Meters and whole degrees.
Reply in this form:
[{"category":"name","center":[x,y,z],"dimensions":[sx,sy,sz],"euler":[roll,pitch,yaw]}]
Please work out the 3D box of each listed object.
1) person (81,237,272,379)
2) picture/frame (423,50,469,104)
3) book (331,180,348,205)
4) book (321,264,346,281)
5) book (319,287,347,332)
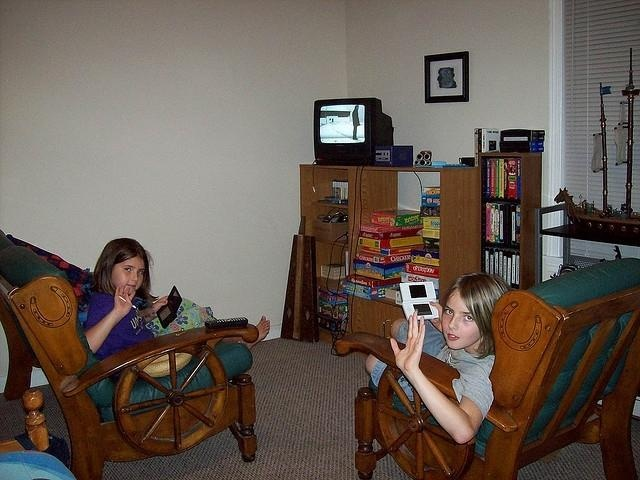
[{"category":"person","center":[-0.713,0.328,2.668],"dimensions":[1.037,0.828,0.529],"euler":[1,5,-18]},{"category":"picture/frame","center":[0.994,-1.272,3.653],"dimensions":[0.402,0.446,0.041],"euler":[6,11,40]},{"category":"book","center":[0.176,-0.414,4.138],"dimensions":[0.118,0.233,0.225],"euler":[-1,1,-17]},{"category":"book","center":[0.151,0.264,4.170],"dimensions":[0.124,0.090,0.172],"euler":[-3,5,-35]},{"category":"book","center":[0.122,0.601,4.018],"dimensions":[0.123,0.366,0.349],"euler":[-1,4,-34]}]
